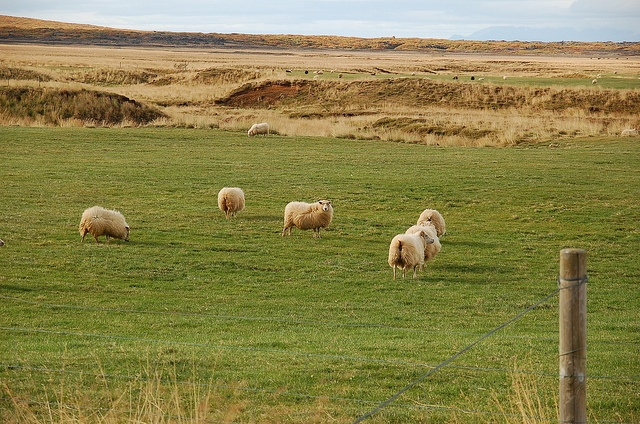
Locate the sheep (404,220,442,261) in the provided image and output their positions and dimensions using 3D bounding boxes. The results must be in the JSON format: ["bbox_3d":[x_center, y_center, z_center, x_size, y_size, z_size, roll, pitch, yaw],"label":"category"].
[{"bbox_3d":[8.759,3.020,115.639,4.108,2.459,2.377,-15,-5,27],"label":"sheep"}]

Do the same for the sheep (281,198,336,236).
[{"bbox_3d":[-1.430,0.121,119.932,5.914,3.090,2.425,0,3,7],"label":"sheep"}]

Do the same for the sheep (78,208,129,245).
[{"bbox_3d":[-20.493,0.757,118.253,5.202,2.943,2.449,3,3,-17],"label":"sheep"}]
